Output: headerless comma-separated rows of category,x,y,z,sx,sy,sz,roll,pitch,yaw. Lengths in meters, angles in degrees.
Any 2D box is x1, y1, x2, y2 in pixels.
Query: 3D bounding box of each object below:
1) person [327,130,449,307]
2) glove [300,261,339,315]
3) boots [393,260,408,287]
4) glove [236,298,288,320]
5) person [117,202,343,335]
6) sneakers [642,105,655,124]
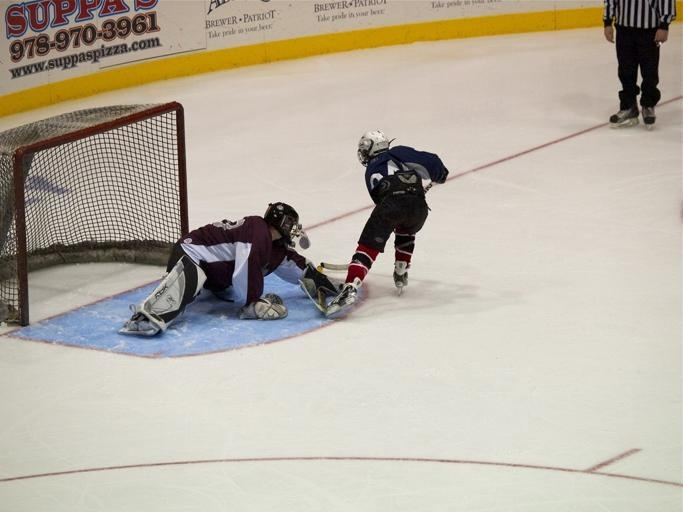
person,0.225,-0.246,4.747,0.493,1.003,1.066,9,22,40
glove,-0.150,0.183,4.633,0.124,0.306,0.266,-45,15,7
boots,0.376,0.115,4.841,0.073,0.173,0.092,-4,-13,5
glove,-0.469,0.313,4.496,0.260,0.094,0.129,-5,10,8
person,-0.655,0.063,4.457,1.256,0.483,0.676,0,17,-8
sneakers,3.082,-1.425,7.712,0.100,0.242,0.103,3,-29,8
